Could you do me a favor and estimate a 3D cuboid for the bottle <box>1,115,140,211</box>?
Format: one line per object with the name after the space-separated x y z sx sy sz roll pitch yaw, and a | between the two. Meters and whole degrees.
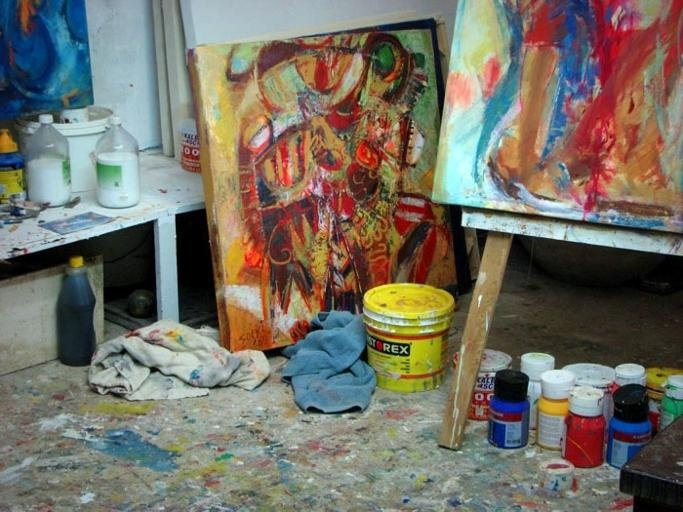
-1.254 -0.413 2.837 0.551 0.314 0.179 -4 7 -16 | bottle

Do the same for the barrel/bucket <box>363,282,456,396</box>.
0.326 0.307 2.754 0.465 0.358 0.433 0 19 0 | barrel/bucket
